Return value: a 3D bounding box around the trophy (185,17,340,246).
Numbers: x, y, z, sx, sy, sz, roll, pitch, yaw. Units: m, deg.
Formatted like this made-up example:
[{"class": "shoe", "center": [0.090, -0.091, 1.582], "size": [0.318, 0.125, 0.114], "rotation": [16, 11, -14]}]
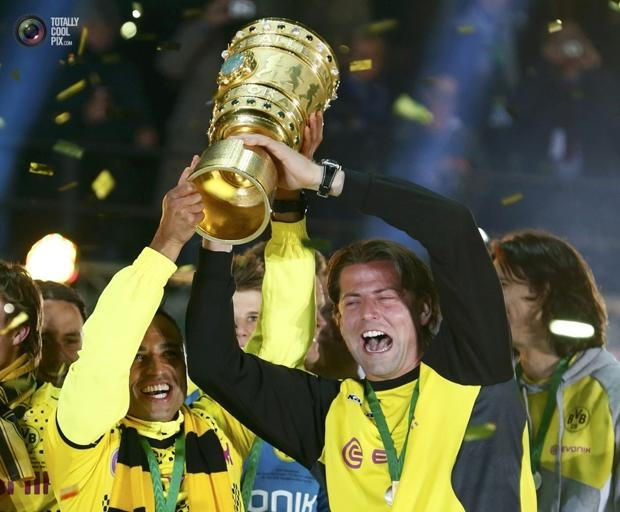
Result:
[{"class": "trophy", "center": [-0.201, -0.478, 3.644], "size": [0.475, 0.769, 0.410], "rotation": [-10, -45, 28]}]
